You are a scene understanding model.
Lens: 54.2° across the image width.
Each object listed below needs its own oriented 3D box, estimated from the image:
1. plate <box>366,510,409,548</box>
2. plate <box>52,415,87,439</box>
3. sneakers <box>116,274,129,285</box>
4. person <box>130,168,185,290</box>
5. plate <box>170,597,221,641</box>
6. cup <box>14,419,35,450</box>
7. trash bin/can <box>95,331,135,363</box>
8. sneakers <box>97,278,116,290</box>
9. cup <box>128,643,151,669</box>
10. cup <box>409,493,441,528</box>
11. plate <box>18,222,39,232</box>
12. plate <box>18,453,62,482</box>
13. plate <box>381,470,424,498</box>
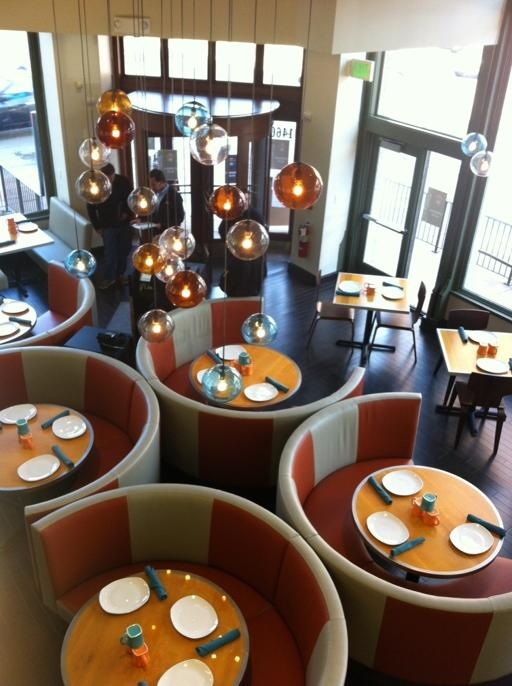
[{"bbox_3d":[0.842,1.204,3.249,0.265,0.029,0.280,-13,31,-28],"label":"plate"},{"bbox_3d":[-1.513,0.685,4.072,0.255,0.035,0.327,-14,31,-30],"label":"plate"},{"bbox_3d":[-2.247,-1.073,8.405,0.157,0.148,0.162,-3,9,-13],"label":"sneakers"},{"bbox_3d":[-1.537,-1.765,7.734,0.745,2.034,0.630,8,40,-6],"label":"person"},{"bbox_3d":[-0.320,1.405,2.559,0.220,0.058,0.274,-10,29,-25],"label":"plate"},{"bbox_3d":[-1.775,0.679,3.846,0.096,0.203,0.212,-11,29,-26],"label":"cup"},{"bbox_3d":[-1.497,0.039,5.252,0.221,0.218,0.314,28,-11,0],"label":"trash bin/can"},{"bbox_3d":[-2.495,-0.981,8.400,0.342,0.120,0.148,-20,-12,-19],"label":"sneakers"},{"bbox_3d":[-0.533,1.417,2.300,0.066,0.072,0.110,-16,44,-19],"label":"cup"},{"bbox_3d":[1.126,1.131,3.360,0.139,0.200,0.224,-22,55,-3],"label":"cup"},{"bbox_3d":[-3.562,-1.803,7.814,0.247,0.034,0.258,12,40,0],"label":"plate"},{"bbox_3d":[-1.559,0.905,3.610,0.260,0.038,0.284,18,30,27],"label":"plate"},{"bbox_3d":[1.069,1.031,3.672,0.327,0.029,0.266,-17,33,-35],"label":"plate"}]
